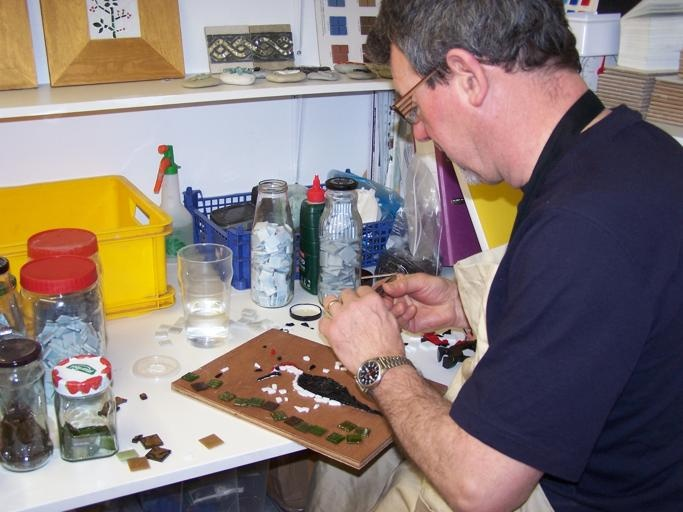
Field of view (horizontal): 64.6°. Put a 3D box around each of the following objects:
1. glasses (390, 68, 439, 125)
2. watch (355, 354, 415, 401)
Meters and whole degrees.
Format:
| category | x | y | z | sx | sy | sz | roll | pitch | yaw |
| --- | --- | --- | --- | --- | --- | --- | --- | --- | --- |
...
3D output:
| category | x | y | z | sx | sy | sz | roll | pitch | yaw |
| --- | --- | --- | --- | --- | --- | --- | --- | --- | --- |
| glasses | 0.131 | -0.303 | 1.023 | 0.073 | 0.021 | 0.074 | -43 | 6 | 13 |
| watch | 0.091 | 0.230 | 1.106 | 0.101 | 0.065 | 0.101 | -37 | -33 | 20 |
